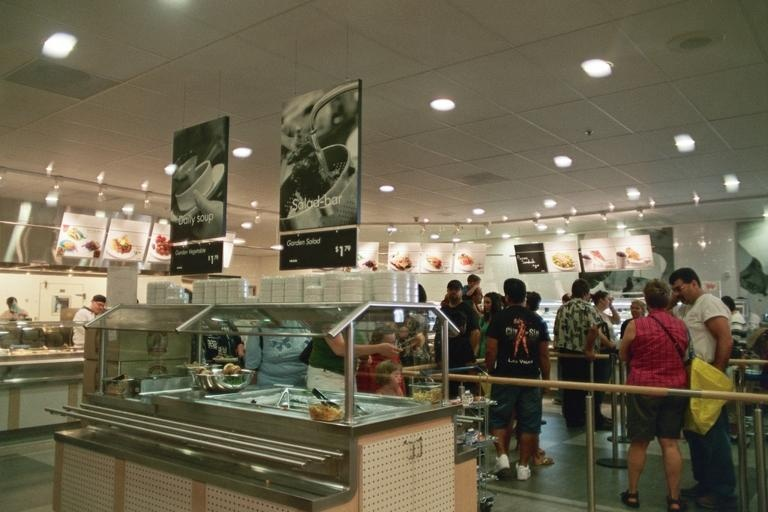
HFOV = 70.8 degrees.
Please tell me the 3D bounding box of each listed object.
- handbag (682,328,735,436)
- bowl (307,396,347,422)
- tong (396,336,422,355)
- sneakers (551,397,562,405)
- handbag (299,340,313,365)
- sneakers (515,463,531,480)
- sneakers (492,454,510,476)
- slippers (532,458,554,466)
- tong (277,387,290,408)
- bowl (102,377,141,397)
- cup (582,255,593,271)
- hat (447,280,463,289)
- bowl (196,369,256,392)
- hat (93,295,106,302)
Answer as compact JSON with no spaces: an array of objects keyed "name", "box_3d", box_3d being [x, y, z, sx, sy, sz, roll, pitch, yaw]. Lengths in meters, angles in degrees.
[{"name":"handbag","box_3d":[3.194,1.387,5.303,0.435,0.760,0.242,2,-9,-4]},{"name":"bowl","box_3d":[-0.428,1.187,4.094,0.275,0.138,0.136,-7,-12,44]},{"name":"tong","box_3d":[0.214,0.740,4.499,0.131,0.073,0.170,5,-47,-42]},{"name":"sneakers","box_3d":[3.441,2.904,10.724,0.077,0.086,0.214,-1,-9,-6]},{"name":"handbag","box_3d":[-0.658,0.819,4.608,0.051,0.199,0.143,19,24,-29]},{"name":"sneakers","box_3d":[1.603,2.495,6.194,0.095,0.102,0.249,-2,-7,16]},{"name":"sneakers","box_3d":[1.360,2.411,6.202,0.138,0.150,0.341,-2,-25,-2]},{"name":"slippers","box_3d":[1.962,2.526,6.600,0.211,0.075,0.105,-6,-4,3]},{"name":"tong","box_3d":[-0.852,1.229,4.601,0.090,0.139,0.037,16,-14,-1]},{"name":"bowl","box_3d":[-2.685,1.325,5.554,0.347,0.118,0.256,-2,-7,45]},{"name":"cup","box_3d":[5.051,0.179,13.416,0.123,0.406,0.271,5,-10,-20]},{"name":"hat","box_3d":[0.969,0.410,7.353,0.152,0.102,0.200,2,-32,8]},{"name":"bowl","box_3d":[-1.426,1.126,4.839,0.286,0.087,0.286,0,-4,0]},{"name":"hat","box_3d":[-5.196,0.778,9.829,0.190,0.146,0.147,8,-17,-3]}]
